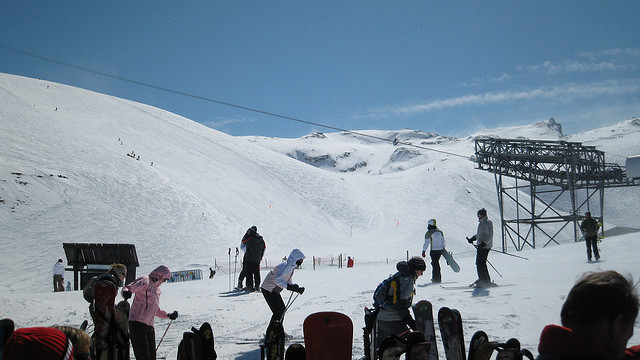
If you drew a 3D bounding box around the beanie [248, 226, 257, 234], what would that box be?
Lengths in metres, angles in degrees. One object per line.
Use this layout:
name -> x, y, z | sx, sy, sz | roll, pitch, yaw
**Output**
beanie -> -5.148, 3.738, 35.537 | 0.518, 0.524, 0.510 | 3, -16, -9
